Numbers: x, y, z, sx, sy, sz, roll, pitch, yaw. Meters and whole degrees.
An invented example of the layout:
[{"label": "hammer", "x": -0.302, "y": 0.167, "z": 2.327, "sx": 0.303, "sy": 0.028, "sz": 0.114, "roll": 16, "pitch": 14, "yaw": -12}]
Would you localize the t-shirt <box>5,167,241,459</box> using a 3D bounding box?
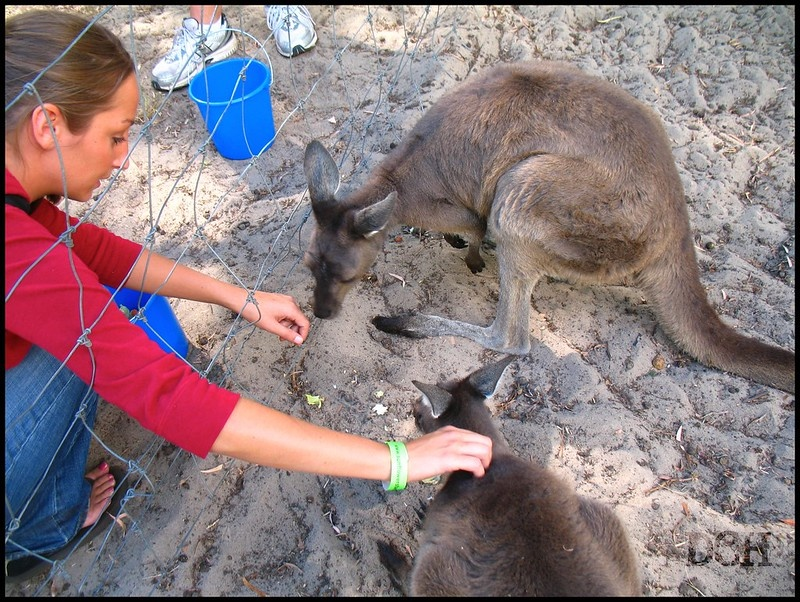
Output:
[{"label": "t-shirt", "x": -1.233, "y": 0.076, "z": 3.138, "sx": 1.325, "sy": 0.870, "sz": 0.779, "roll": 27, "pitch": 72, "yaw": 7}]
